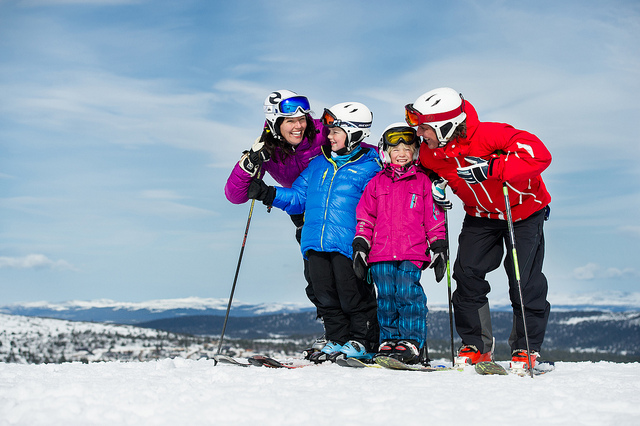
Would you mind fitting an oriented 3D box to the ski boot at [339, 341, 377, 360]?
[{"bbox_3d":[0.469,1.863,12.598,0.523,0.220,0.175,33,-22,-27],"label":"ski boot"}]
